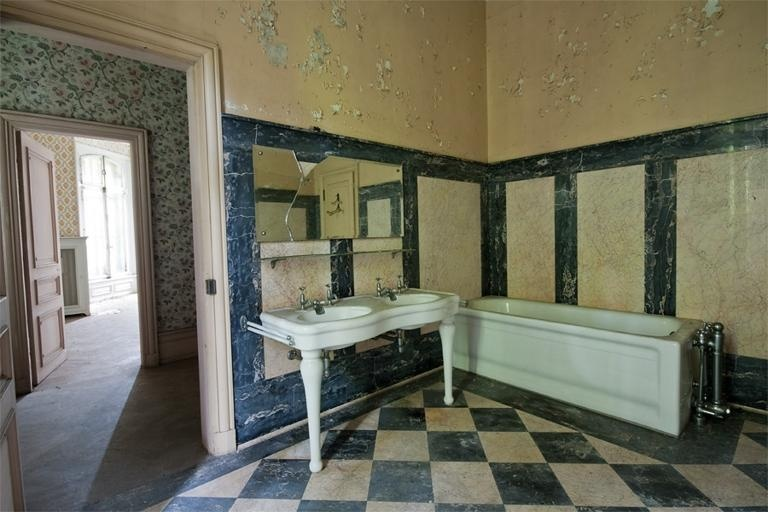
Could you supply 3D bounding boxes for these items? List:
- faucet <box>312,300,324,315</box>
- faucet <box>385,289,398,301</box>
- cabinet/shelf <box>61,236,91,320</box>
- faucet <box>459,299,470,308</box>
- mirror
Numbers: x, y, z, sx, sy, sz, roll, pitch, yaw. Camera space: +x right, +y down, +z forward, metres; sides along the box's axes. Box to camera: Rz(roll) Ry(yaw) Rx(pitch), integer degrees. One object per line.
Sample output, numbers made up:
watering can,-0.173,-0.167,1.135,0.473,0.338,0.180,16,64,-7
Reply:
faucet,-0.571,0.435,4.519,0.084,0.128,0.043,-34,13,-18
faucet,0.068,0.366,4.948,0.083,0.102,0.117,8,12,39
cabinet/shelf,-4.749,0.306,8.106,0.353,1.213,0.271,-4,5,-29
faucet,0.832,0.489,5.490,0.151,0.069,0.081,3,5,-38
mirror,-0.489,-0.500,4.760,1.530,0.753,0.040,-4,7,-30
